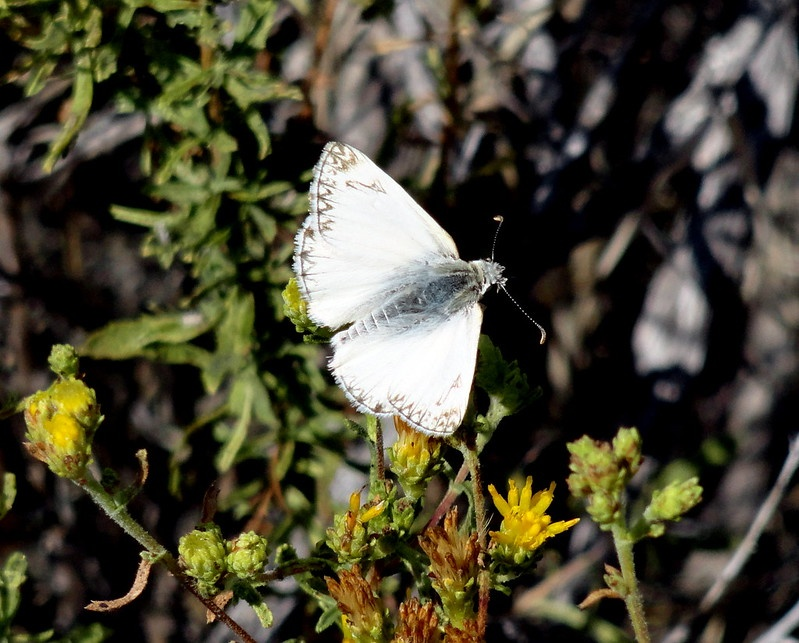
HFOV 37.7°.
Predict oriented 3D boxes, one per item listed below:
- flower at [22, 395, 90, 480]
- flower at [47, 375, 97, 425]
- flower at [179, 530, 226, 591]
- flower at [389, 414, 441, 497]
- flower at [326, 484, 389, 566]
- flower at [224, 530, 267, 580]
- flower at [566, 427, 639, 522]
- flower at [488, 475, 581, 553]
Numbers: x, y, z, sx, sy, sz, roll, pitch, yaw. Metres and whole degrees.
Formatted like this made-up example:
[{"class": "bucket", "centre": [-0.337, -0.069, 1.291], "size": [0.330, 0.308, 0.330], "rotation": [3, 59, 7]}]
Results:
[{"class": "flower", "centre": [-1.123, 0.364, 3.908], "size": [0.216, 0.340, 0.114], "rotation": [-13, -27, -12]}, {"class": "flower", "centre": [-1.092, 0.261, 3.923], "size": [0.172, 0.074, 0.224], "rotation": [15, 15, -24]}, {"class": "flower", "centre": [-0.642, 0.794, 3.988], "size": [0.114, 0.209, 0.184], "rotation": [-12, 37, 6]}, {"class": "flower", "centre": [0.048, 0.494, 4.193], "size": [0.209, 0.385, 0.194], "rotation": [0, 0, -22]}, {"class": "flower", "centre": [-0.161, 0.715, 4.012], "size": [0.140, 0.278, 0.160], "rotation": [22, 8, -16]}, {"class": "flower", "centre": [-0.514, 0.797, 3.963], "size": [0.130, 0.164, 0.083], "rotation": [13, -14, -6]}, {"class": "flower", "centre": [0.677, 0.508, 3.870], "size": [0.240, 0.299, 0.128], "rotation": [-28, 19, 24]}, {"class": "flower", "centre": [0.403, 0.634, 4.048], "size": [0.265, 0.165, 0.255], "rotation": [-12, 1, 31]}]
